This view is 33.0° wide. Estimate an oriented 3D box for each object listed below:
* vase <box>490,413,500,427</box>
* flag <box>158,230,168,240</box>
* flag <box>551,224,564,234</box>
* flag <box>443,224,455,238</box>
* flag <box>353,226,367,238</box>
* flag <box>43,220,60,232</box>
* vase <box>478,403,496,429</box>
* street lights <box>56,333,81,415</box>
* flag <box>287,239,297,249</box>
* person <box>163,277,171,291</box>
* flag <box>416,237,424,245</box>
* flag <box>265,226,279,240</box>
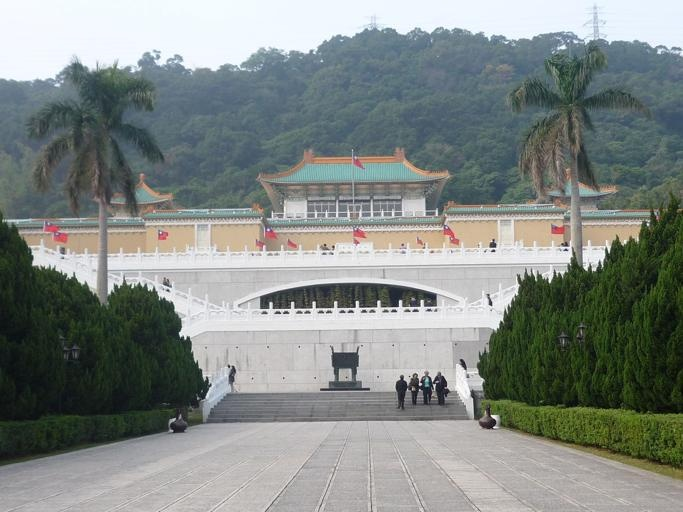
[{"bbox_3d":[6.036,6.471,45.287,0.371,0.381,0.386,1,-4,2],"label":"vase"},{"bbox_3d":[-10.989,-1.204,70.232,0.693,0.682,1.394,-2,13,-7],"label":"flag"},{"bbox_3d":[13.124,-1.671,70.185,0.582,0.538,0.048,2,-7,-4],"label":"flag"},{"bbox_3d":[6.386,-1.531,68.593,1.034,1.087,0.120,5,-45,-1],"label":"flag"},{"bbox_3d":[1.102,-1.467,69.950,0.825,0.870,0.121,0,-35,-2],"label":"flag"},{"bbox_3d":[-17.147,-1.754,67.404,1.059,1.110,0.097,2,-39,-6],"label":"flag"},{"bbox_3d":[5.700,6.332,45.161,0.598,0.730,0.752,-8,15,-31],"label":"vase"},{"bbox_3d":[-9.941,3.614,41.885,0.580,1.650,0.938,1,13,5],"label":"street lights"},{"bbox_3d":[-3.124,-0.800,71.689,0.574,0.675,0.047,2,-17,-12],"label":"flag"},{"bbox_3d":[-9.390,1.478,61.485,0.492,0.944,0.500,0,23,-4],"label":"person"},{"bbox_3d":[4.779,-0.959,70.837,0.517,0.548,0.061,0,-21,-1],"label":"flag"},{"bbox_3d":[-4.420,-1.460,71.384,1.572,0.498,2.106,4,7,-3],"label":"flag"}]
